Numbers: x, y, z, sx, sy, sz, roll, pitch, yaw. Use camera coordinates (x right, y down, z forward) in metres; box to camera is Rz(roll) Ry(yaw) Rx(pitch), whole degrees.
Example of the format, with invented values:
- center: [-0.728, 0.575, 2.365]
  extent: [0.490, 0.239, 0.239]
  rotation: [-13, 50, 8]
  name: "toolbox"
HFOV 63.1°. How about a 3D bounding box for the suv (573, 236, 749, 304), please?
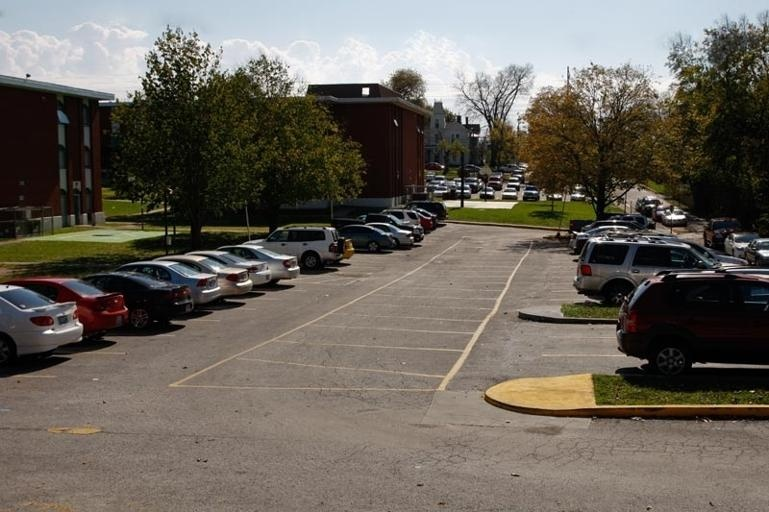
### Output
- center: [9.263, 0.542, 23.060]
  extent: [4.695, 1.758, 2.324]
  rotation: [-1, 8, 8]
  name: "suv"
